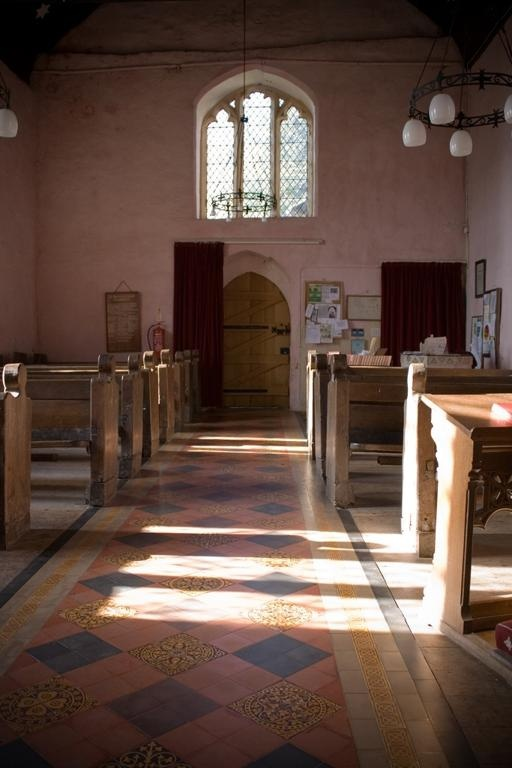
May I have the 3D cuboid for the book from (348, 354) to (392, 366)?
[{"bbox_3d":[1.431,-0.307,7.740,0.363,0.108,0.362,0,2,-1],"label":"book"}]

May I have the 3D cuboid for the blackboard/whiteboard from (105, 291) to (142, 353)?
[{"bbox_3d":[-2.385,-1.138,11.116,0.654,1.140,0.247,0,2,-11],"label":"blackboard/whiteboard"}]
